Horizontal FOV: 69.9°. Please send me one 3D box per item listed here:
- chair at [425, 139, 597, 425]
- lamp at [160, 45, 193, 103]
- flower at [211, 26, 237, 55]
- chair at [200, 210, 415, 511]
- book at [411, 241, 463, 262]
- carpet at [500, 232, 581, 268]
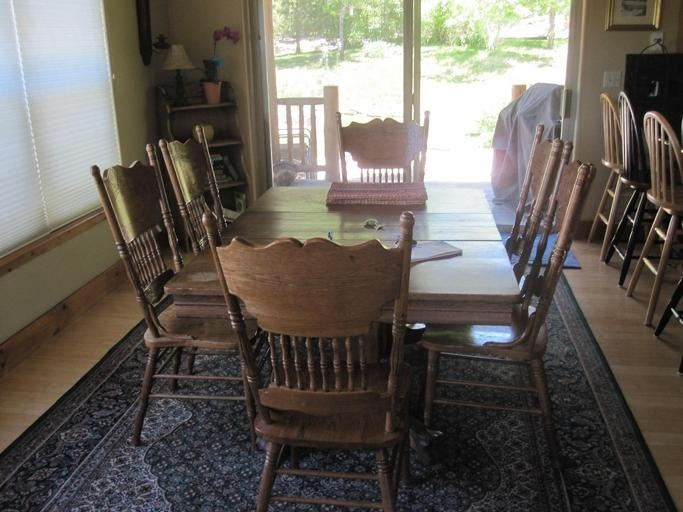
[{"bbox_3d":[0.732,0.164,2.214,0.571,1.253,0.785,9,27,23],"label":"chair"},{"bbox_3d":[-1.404,-1.574,4.224,0.246,0.468,0.521,-9,25,-13],"label":"lamp"},{"bbox_3d":[-1.014,-1.894,4.305,0.260,0.236,0.252,-8,25,-11],"label":"flower"},{"bbox_3d":[-0.067,0.413,1.642,0.589,1.249,0.449,1,25,7],"label":"chair"},{"bbox_3d":[0.404,-0.019,2.073,0.209,0.021,0.249,1,24,8],"label":"book"},{"bbox_3d":[1.678,-0.043,4.115,0.554,0.038,0.593,5,57,21],"label":"carpet"}]
